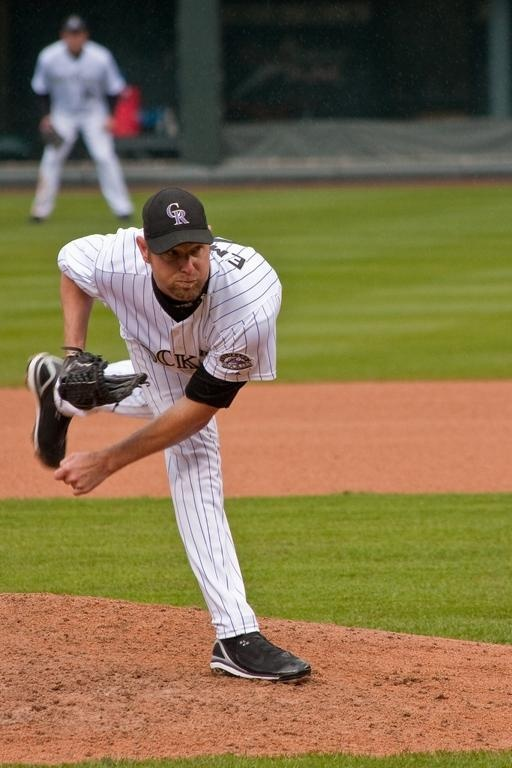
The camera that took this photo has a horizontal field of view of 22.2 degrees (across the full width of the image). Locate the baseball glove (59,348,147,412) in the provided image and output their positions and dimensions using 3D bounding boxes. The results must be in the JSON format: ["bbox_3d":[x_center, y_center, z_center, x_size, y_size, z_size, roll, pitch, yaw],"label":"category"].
[{"bbox_3d":[-0.426,0.003,3.562,0.258,0.102,0.143,-2,-8,31],"label":"baseball glove"}]

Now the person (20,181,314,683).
[{"bbox_3d":[-0.209,0.121,3.700,0.721,1.345,0.768,0,11,-9],"label":"person"}]

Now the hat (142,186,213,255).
[{"bbox_3d":[-0.213,-0.416,3.302,0.137,0.096,0.191,-8,24,-13],"label":"hat"}]

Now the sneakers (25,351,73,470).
[{"bbox_3d":[-0.629,0.081,4.101,0.133,0.365,0.173,10,21,23],"label":"sneakers"}]

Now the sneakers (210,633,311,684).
[{"bbox_3d":[0.003,0.763,3.687,0.295,0.128,0.110,2,1,20],"label":"sneakers"}]
